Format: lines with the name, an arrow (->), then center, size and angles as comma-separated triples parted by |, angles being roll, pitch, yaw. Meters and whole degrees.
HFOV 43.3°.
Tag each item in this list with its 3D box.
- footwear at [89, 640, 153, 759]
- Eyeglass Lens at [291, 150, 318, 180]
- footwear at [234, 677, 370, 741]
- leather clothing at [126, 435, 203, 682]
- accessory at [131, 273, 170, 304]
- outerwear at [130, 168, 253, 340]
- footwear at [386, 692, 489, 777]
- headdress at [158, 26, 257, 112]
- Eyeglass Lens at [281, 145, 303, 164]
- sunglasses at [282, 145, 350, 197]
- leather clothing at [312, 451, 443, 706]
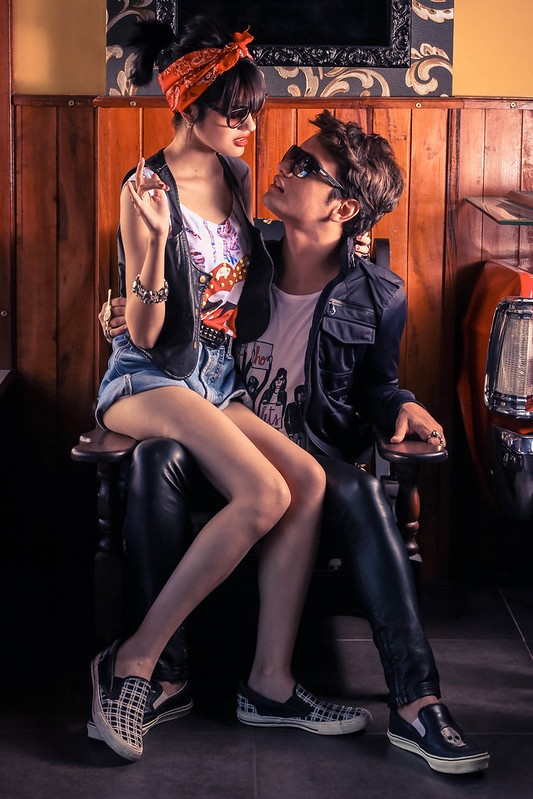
footwear -> -0.249, 0.505, 1.176 | 0.067, 0.085, 0.199 | 28, 24, -35
Eyeglass Lens -> 0.081, -0.480, 1.399 | 0.063, 0.022, 0.052 | 15, 25, -51
footwear -> 0.071, 0.565, 1.271 | 0.242, 0.090, 0.091 | 0, -3, 11
leather clothing -> -0.187, 0.235, 1.222 | 0.136, 0.373, 0.080 | 1, 0, -11
accessory -> -0.217, -0.203, 1.241 | 0.049, 0.026, 0.057 | 0, -4, 3
outerwear -> -0.158, -0.280, 1.423 | 0.200, 0.354, 0.397 | 9, 10, 35
footwear -> 0.280, 0.554, 1.138 | 0.076, 0.084, 0.192 | 2, -3, -30
headdress -> -0.114, -0.632, 1.344 | 0.174, 0.093, 0.142 | -23, 21, 28
Eyeglass Lens -> 0.056, -0.508, 1.416 | 0.013, 0.043, 0.038 | 30, 32, -13
sunglasses -> 0.086, -0.472, 1.354 | 0.090, 0.031, 0.105 | 30, 6, -37
leather clothing -> 0.166, 0.268, 1.275 | 0.118, 0.574, 0.166 | -28, -25, 30
